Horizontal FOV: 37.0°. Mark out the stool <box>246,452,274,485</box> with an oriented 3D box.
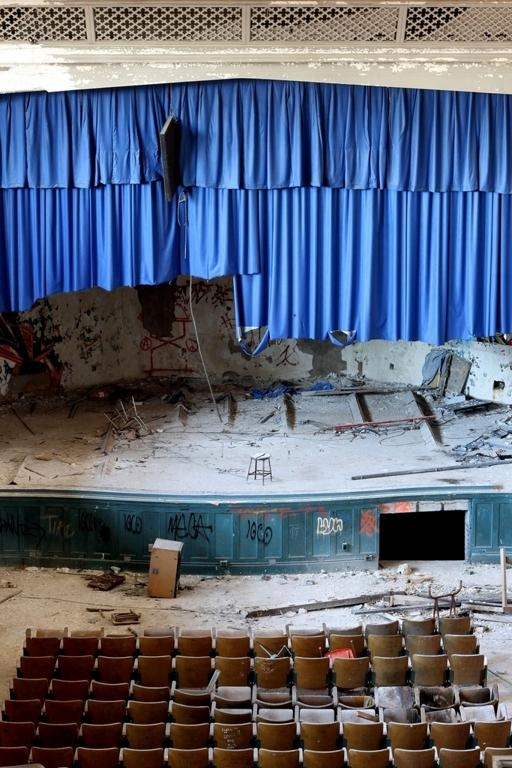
[{"bbox_3d":[0.079,1.253,11.553,0.422,0.604,0.399,1,2,29],"label":"stool"}]
